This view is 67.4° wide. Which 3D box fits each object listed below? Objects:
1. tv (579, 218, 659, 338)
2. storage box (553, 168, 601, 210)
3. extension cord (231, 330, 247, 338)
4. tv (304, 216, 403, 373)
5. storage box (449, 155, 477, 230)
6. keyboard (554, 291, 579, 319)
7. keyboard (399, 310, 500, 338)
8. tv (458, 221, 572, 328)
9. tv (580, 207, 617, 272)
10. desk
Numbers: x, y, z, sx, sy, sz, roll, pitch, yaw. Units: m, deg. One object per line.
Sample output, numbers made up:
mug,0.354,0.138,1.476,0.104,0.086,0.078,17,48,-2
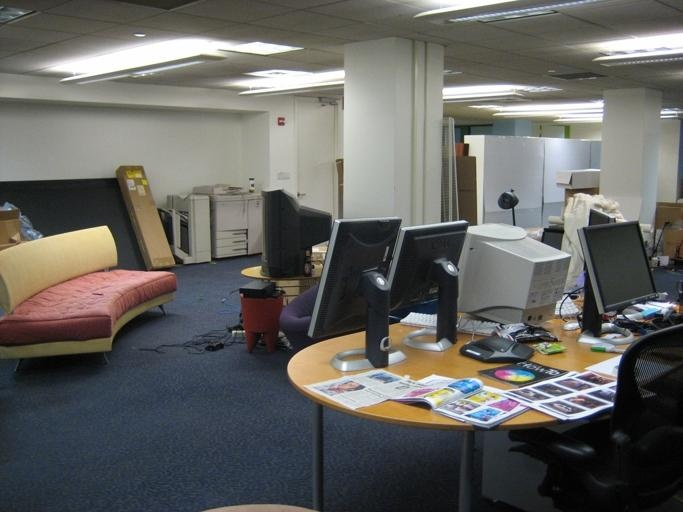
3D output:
tv,1.624,0.152,3.026,0.753,0.740,0.371,-9,11,-41
storage box,4.368,-1.275,9.348,0.492,0.566,1.662,10,16,39
extension cord,-1.167,0.866,5.723,0.178,0.051,0.121,1,12,5
tv,0.104,0.107,2.661,0.591,0.629,0.193,-12,18,-42
storage box,1.979,-1.028,8.136,0.343,1.079,0.962,2,13,12
keyboard,1.506,0.354,3.436,0.181,0.050,0.261,4,13,27
keyboard,0.676,0.417,3.127,0.368,0.038,0.204,7,11,23
tv,1.048,0.072,3.156,0.651,0.570,0.614,-11,19,-39
tv,1.537,-0.089,3.057,0.255,0.443,0.488,0,9,30
desk,0.413,0.415,2.937,2.038,0.911,1.366,-6,12,-35
